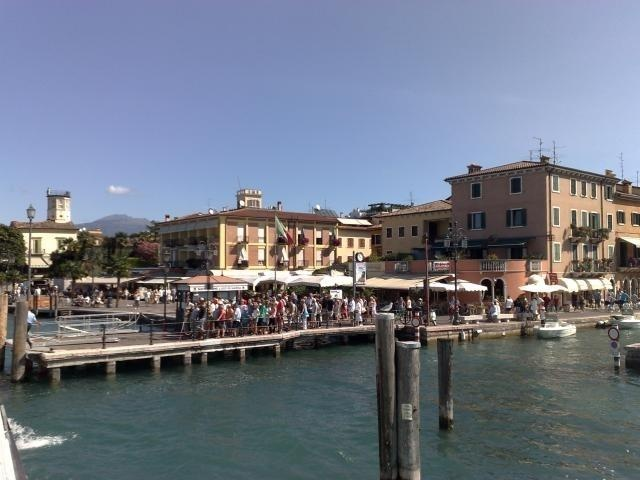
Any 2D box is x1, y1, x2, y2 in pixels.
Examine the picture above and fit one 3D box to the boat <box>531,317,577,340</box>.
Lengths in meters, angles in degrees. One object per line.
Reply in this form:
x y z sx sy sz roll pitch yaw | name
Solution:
15.785 5.999 46.353 2.964 0.703 1.290 6 -14 -29 | boat
